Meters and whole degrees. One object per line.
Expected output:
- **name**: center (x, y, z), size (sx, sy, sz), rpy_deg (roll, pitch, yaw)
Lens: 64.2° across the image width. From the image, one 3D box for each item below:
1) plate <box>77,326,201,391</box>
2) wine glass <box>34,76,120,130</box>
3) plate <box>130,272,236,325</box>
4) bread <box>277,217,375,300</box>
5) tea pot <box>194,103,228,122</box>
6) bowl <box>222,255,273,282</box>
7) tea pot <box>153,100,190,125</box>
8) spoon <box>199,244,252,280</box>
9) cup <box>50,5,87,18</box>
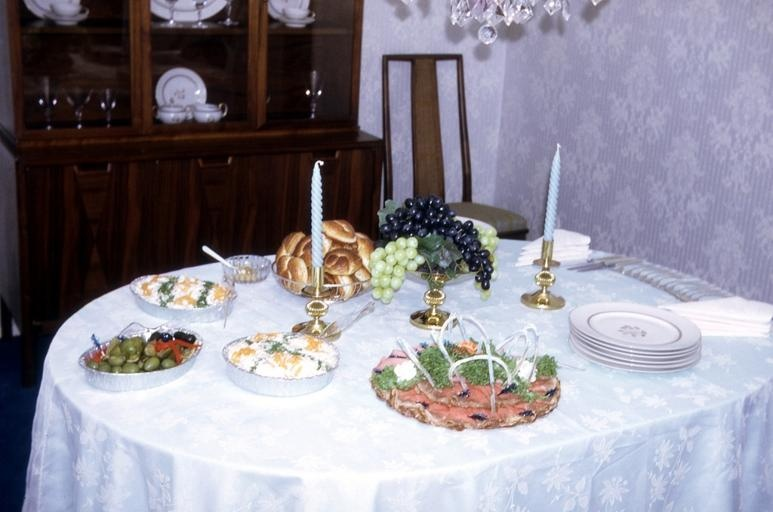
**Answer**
- **plate**: center (-0.695, 0.289, 1.802), size (0.188, 0.074, 0.252), rpy_deg (18, 25, 35)
- **wine glass**: center (-1.707, -0.847, 3.388), size (0.261, 0.187, 0.315), rpy_deg (12, 28, 12)
- **plate**: center (-0.694, 0.143, 2.088), size (0.260, 0.069, 0.187), rpy_deg (5, 31, -4)
- **bread**: center (-0.209, 0.018, 2.168), size (0.273, 0.102, 0.303), rpy_deg (9, 35, 7)
- **tea pot**: center (-1.060, -0.859, 3.699), size (0.144, 0.102, 0.116), rpy_deg (-2, 11, -14)
- **bowl**: center (-0.543, 0.043, 2.364), size (0.127, 0.063, 0.128), rpy_deg (2, 19, -1)
- **tea pot**: center (-1.260, -0.839, 3.597), size (0.153, 0.093, 0.111), rpy_deg (1, 15, -5)
- **spoon**: center (-0.745, 0.022, 2.800), size (0.038, 0.227, 0.074), rpy_deg (-3, 51, 44)
- **cup**: center (-1.709, -1.318, 3.297), size (0.097, 0.047, 0.081), rpy_deg (-1, 33, -14)
